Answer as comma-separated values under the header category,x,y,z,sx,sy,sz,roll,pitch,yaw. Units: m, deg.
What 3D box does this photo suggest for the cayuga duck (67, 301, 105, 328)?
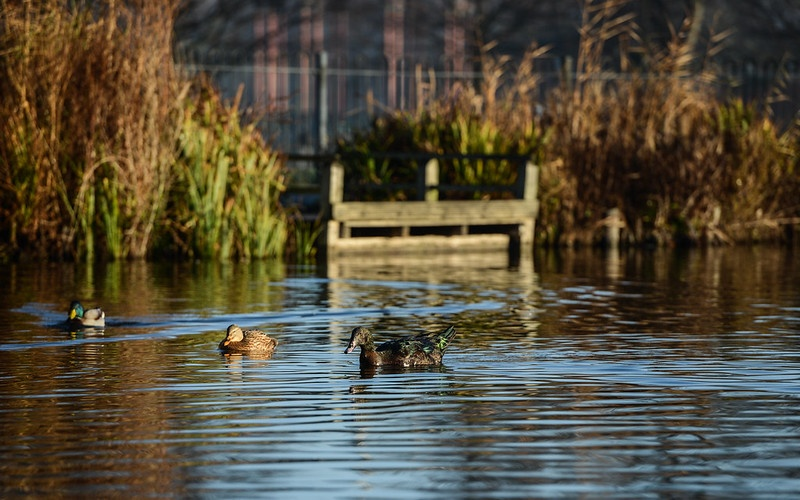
category,x,y,z,sx,sy,sz,roll,pitch,yaw
cayuga duck,-3.369,0.702,12.895,0.243,0.277,0.374,-1,0,35

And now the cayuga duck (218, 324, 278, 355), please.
category,x,y,z,sx,sy,sz,roll,pitch,yaw
cayuga duck,-1.508,0.888,11.962,0.420,0.299,0.302,3,-4,-9
